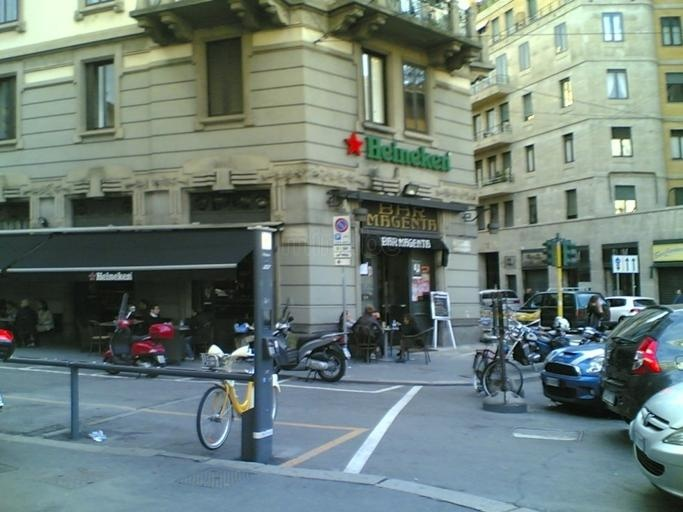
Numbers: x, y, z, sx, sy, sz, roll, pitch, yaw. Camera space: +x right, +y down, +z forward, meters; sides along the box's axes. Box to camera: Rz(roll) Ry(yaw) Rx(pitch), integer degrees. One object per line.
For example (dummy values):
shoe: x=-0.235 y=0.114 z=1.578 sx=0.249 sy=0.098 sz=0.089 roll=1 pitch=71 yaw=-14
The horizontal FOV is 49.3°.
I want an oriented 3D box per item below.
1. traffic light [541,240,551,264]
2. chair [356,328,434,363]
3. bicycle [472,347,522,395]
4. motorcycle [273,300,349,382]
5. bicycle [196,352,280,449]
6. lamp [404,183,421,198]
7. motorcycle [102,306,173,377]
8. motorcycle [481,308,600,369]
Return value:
traffic light: x=6.403 y=-0.141 z=23.235 sx=0.275 sy=0.734 sz=1.078 roll=4 pitch=4 yaw=15
chair: x=1.769 y=2.415 z=20.736 sx=1.643 sy=0.667 sz=1.514 roll=3 pitch=-6 yaw=-21
bicycle: x=3.230 y=2.440 z=15.349 sx=0.821 sy=1.064 sz=1.791 roll=2 pitch=3 yaw=-3
motorcycle: x=-0.952 y=2.094 z=18.021 sx=2.642 sy=1.657 sz=0.883 roll=-2 pitch=-7 yaw=32
bicycle: x=-1.749 y=2.275 z=12.095 sx=1.211 sy=1.554 sz=1.458 roll=2 pitch=4 yaw=0
lamp: x=2.233 y=-2.101 z=23.563 sx=0.345 sy=0.424 sz=0.757 roll=4 pitch=4 yaw=29
motorcycle: x=-5.159 y=2.096 z=18.446 sx=2.059 sy=1.470 sz=0.773 roll=0 pitch=0 yaw=15
motorcycle: x=4.396 y=2.023 z=17.636 sx=2.601 sy=1.000 sz=1.495 roll=3 pitch=-4 yaw=-30
